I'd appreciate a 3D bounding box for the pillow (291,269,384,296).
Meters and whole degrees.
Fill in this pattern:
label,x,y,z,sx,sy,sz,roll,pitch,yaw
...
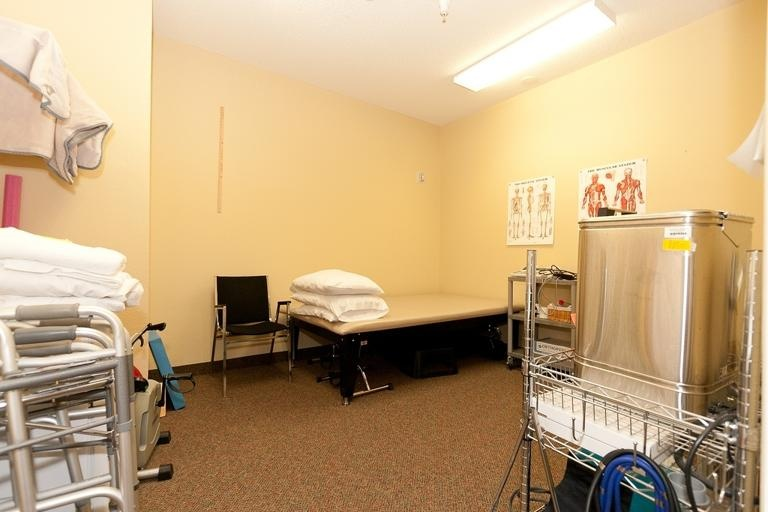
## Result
label,x,y,z,sx,sy,sz,roll,pitch,yaw
pillow,-0.456,0.218,4.422,0.332,0.142,0.457,3,1,-40

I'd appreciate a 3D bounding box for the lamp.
label,x,y,z,sx,sy,sz,roll,pitch,yaw
lamp,1.225,-1.761,4.495,0.394,0.539,1.320,-10,18,-38

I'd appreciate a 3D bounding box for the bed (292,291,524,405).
label,x,y,z,sx,sy,sz,roll,pitch,yaw
bed,0.151,0.635,5.089,2.247,0.702,1.372,-9,17,-36

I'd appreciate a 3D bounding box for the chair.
label,x,y,z,sx,sy,sz,roll,pitch,yaw
chair,-1.133,0.616,4.471,0.590,0.829,0.566,-1,5,-28
